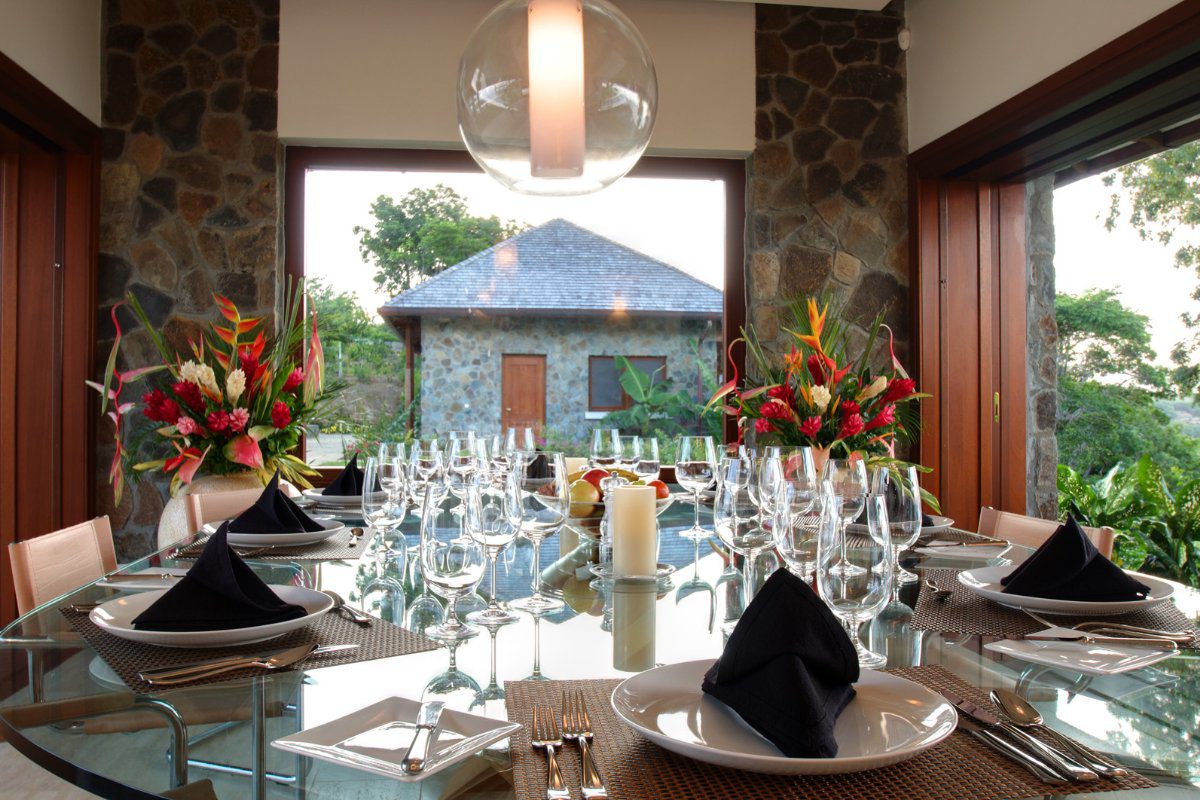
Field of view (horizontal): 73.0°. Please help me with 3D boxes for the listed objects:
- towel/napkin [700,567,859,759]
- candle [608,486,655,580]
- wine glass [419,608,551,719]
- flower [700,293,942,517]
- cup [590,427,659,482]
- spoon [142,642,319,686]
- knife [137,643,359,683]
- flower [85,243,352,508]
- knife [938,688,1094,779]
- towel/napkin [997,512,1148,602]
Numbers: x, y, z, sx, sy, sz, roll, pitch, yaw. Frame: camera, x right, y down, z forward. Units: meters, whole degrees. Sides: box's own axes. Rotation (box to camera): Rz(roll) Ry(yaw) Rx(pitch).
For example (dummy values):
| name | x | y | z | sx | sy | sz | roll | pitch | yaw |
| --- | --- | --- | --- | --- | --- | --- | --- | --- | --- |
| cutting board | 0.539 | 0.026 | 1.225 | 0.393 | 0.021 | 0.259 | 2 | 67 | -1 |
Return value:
| name | x | y | z | sx | sy | sz | roll | pitch | yaw |
| --- | --- | --- | --- | --- | --- | --- | --- | --- | --- |
| towel/napkin | 0.289 | 0.446 | 1.366 | 0.239 | 0.088 | 0.191 | 36 | 59 | 21 |
| candle | 0.092 | 0.323 | 2.051 | 0.121 | 0.210 | 0.126 | 7 | 9 | 24 |
| wine glass | -0.245 | 0.502 | 1.584 | 0.100 | 0.127 | 0.191 | -5 | -8 | 40 |
| flower | 0.862 | 0.080 | 3.137 | 0.625 | 0.898 | 0.724 | -3 | -3 | 36 |
| cup | 0.099 | 0.185 | 2.769 | 0.173 | 0.191 | 0.185 | 0 | 2 | 0 |
| spoon | -0.694 | 0.495 | 1.521 | 0.208 | 0.032 | 0.042 | 2 | 3 | -33 |
| knife | -0.662 | 0.494 | 1.526 | 0.227 | 0.020 | 0.042 | 0 | 2 | -24 |
| flower | -1.756 | 0.070 | 3.629 | 0.768 | 0.870 | 0.641 | -12 | 5 | -12 |
| knife | 0.677 | 0.538 | 1.285 | 0.058 | 0.019 | 0.234 | -4 | 7 | -14 |
| towel/napkin | 1.011 | 0.358 | 1.857 | 0.350 | 0.230 | 0.145 | 1 | -5 | 11 |
